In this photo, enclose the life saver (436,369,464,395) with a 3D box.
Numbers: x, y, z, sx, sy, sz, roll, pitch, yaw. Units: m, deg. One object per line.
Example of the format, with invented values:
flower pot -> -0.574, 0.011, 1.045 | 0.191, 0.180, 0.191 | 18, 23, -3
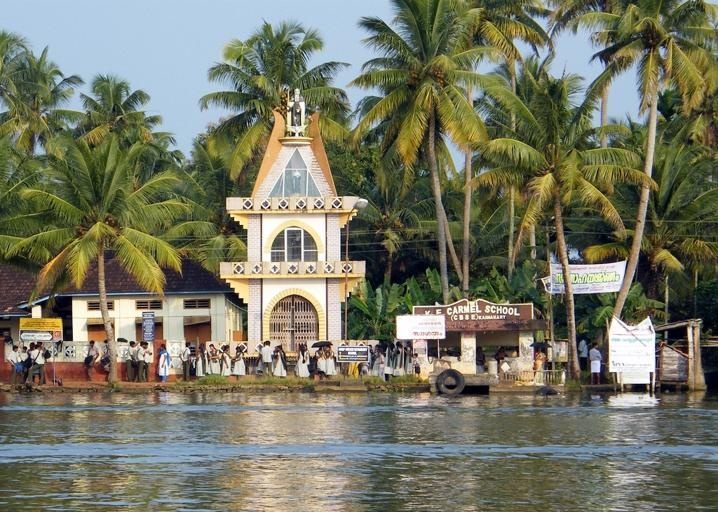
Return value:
life saver -> 4.212, 5.864, 80.775 | 1.361, 1.222, 0.702 | -2, -8, 2
